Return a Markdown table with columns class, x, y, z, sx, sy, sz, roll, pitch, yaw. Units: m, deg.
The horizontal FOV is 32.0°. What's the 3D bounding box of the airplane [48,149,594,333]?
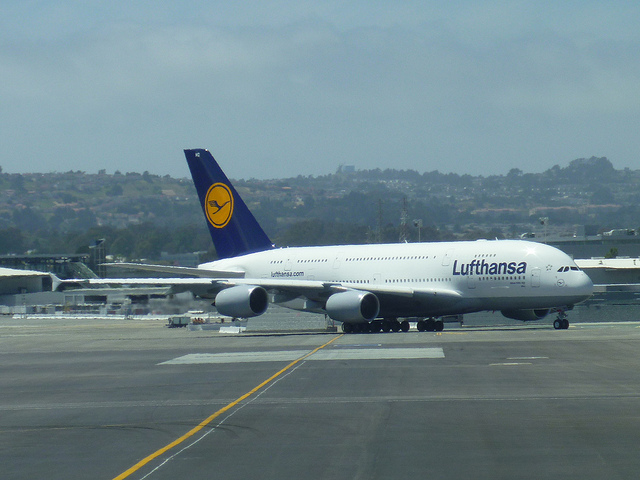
| class | x | y | z | sx | sy | sz | roll | pitch | yaw |
| --- | --- | --- | --- | --- | --- | --- | --- | --- | --- |
| airplane | 2.269 | -0.095 | 48.679 | 17.509 | 8.326 | 6.716 | -1 | 5 | 15 |
